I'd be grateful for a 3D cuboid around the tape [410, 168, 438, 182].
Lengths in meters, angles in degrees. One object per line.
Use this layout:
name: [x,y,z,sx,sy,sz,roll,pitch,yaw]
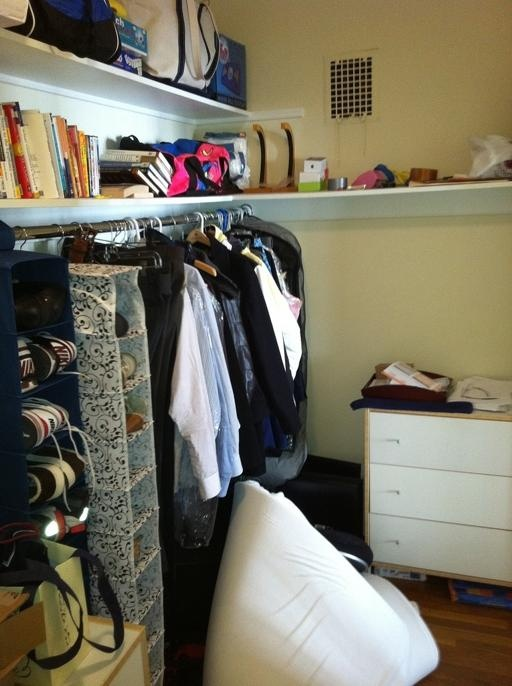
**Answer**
tape: [0.684,-0.692,2.179,0.107,0.062,0.113,4,16,14]
